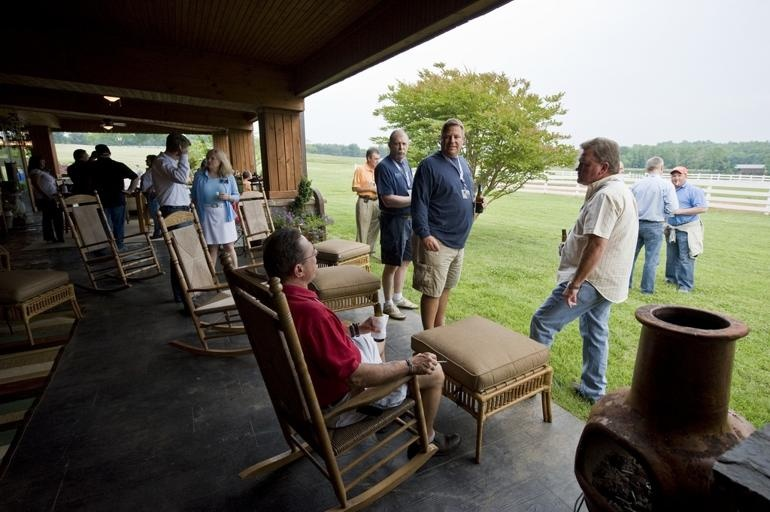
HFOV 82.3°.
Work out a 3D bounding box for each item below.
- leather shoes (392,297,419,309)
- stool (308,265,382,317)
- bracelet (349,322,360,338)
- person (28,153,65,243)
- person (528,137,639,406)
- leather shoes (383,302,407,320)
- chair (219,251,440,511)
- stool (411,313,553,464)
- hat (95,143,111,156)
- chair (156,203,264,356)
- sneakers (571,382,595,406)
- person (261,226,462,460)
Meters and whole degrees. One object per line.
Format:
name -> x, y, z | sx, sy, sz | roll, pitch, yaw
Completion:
leather shoes -> 0.240, 0.596, 5.529 | 0.334, 0.134, 0.127 | -1, 8, -7
stool -> -0.437, 0.337, 4.779 | 0.576, 0.384, 0.557 | -2, 4, -38
bracelet -> -0.220, 0.557, 3.320 | 0.096, 0.089, 0.071 | -24, 20, -36
person -> -6.884, -1.170, 8.945 | 0.441, 1.780, 1.203 | -14, 16, -35
person -> 1.736, 0.164, 3.817 | 0.897, 2.310, 0.450 | -10, 14, -21
leather shoes -> 0.122, 0.664, 5.271 | 0.318, 0.129, 0.136 | 7, 11, 16
chair -> -0.416, 0.735, 4.175 | 2.000, 2.451, 1.359 | -14, 19, -32
stool -> 0.757, 1.002, 3.786 | 1.083, 0.829, 1.013 | -10, 20, -32
hat -> -4.864, -1.829, 7.570 | 0.209, 0.221, 0.414 | -12, 14, -32
chair -> -1.774, 0.250, 4.824 | 1.270, 1.544, 0.967 | -3, 12, -3
sneakers -> 1.770, 1.265, 3.983 | 0.162, 0.064, 0.199 | -5, 27, -35
person -> -0.214, 0.757, 3.455 | 1.385, 1.913, 0.963 | -7, 14, -29
